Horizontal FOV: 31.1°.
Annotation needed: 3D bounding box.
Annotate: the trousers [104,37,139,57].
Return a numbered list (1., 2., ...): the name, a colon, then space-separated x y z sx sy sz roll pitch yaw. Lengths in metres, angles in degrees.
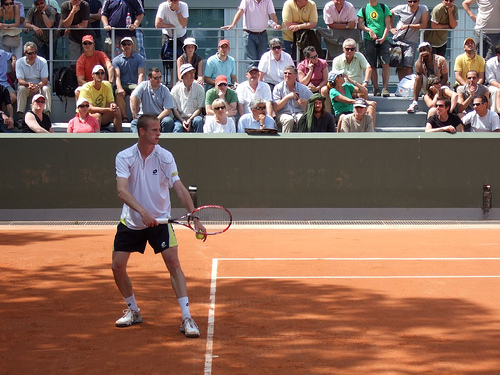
1. trousers: -3.056 -3.341 21.191 0.662 0.393 0.466 -10 17 -23

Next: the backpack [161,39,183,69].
1. backpack: -1.799 -3.247 21.034 0.330 0.678 0.491 3 19 33

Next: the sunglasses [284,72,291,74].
1. sunglasses: 0.791 -2.467 19.409 0.051 0.037 0.179 -12 19 -41

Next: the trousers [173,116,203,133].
1. trousers: -1.257 -1.332 19.494 0.396 0.432 0.163 2 -11 -4

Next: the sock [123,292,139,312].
1. sock: -1.749 1.670 13.186 0.196 0.237 0.205 -4 14 -15

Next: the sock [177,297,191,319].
1. sock: -0.969 1.751 13.052 0.142 0.452 0.167 -13 -26 11

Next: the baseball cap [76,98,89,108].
1. baseball cap: -3.502 -1.784 19.068 0.204 0.172 0.342 -1 -3 -26

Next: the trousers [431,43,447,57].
1. trousers: 4.450 -3.225 21.119 0.198 0.298 0.608 12 19 42

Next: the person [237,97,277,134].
1. person: 0.126 -1.527 19.024 0.765 0.763 0.447 0 13 -1

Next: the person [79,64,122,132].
1. person: -3.252 -1.908 19.550 0.866 1.444 0.572 -3 13 -12

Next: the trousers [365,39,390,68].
1. trousers: 2.936 -3.088 20.736 0.618 1.026 0.342 0 -1 0

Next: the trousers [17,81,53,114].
1. trousers: -4.886 -1.976 20.335 0.787 0.702 0.895 -3 14 -14

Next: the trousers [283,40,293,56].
1. trousers: 0.877 -3.236 20.973 0.244 0.450 0.289 -2 10 1

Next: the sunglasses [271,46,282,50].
1. sunglasses: 0.589 -3.106 20.063 0.221 0.083 0.108 -5 15 -19

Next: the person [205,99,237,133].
1. person: -0.639 -1.565 19.162 0.668 1.004 0.639 0 -1 -7

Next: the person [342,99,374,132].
1. person: 2.289 -1.470 19.272 0.711 1.102 0.593 -1 8 -2

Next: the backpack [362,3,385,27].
1. backpack: 2.910 -4.142 21.206 0.489 0.572 0.453 -23 12 8

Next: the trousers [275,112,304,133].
1. trousers: 0.773 -1.401 19.419 0.442 0.512 0.187 1 -9 -17

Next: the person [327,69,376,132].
1. person: 2.327 -1.755 19.531 1.080 1.664 1.149 -8 12 5

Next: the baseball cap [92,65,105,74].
1. baseball cap: -3.291 -2.530 19.353 0.191 0.159 0.332 2 -1 -13

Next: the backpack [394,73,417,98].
1. backpack: 3.604 -2.351 20.769 0.351 0.516 0.490 22 11 36

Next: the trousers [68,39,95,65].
1. trousers: -3.938 -3.235 21.185 0.571 0.872 0.454 2 12 4

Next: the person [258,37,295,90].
1. person: 0.533 -2.795 20.476 0.958 1.305 0.885 0 5 -1

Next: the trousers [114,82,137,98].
1. trousers: -2.800 -2.161 20.165 0.505 0.331 0.521 -2 14 -8

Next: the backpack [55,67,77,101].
1. backpack: -4.217 -2.352 20.559 0.515 0.762 0.345 -1 13 -5

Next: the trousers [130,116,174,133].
1. trousers: -2.061 -1.337 19.217 0.676 0.298 0.549 2 -2 -20

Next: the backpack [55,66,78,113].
1. backpack: -4.216 -2.385 20.463 0.421 0.684 0.231 4 3 20

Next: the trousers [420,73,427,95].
1. trousers: 3.974 -2.333 20.566 0.167 0.381 0.262 5 4 7

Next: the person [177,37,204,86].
1. person: -1.368 -2.848 20.391 0.630 0.998 0.859 0 13 1

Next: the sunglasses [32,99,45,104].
1. sunglasses: -4.470 -1.822 19.029 0.200 0.112 0.120 -6 15 -23

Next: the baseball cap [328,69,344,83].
1. baseball cap: 1.855 -2.407 19.498 0.300 0.106 0.206 -26 22 23

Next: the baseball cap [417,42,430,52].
1. baseball cap: 3.906 -3.159 20.221 0.257 0.202 0.431 3 15 11

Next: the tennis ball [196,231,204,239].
1. tennis ball: -0.720 0.672 12.881 0.106 0.095 0.130 0 -8 0

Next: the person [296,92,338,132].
1. person: 1.402 -1.613 19.310 0.748 0.977 0.314 -1 2 -5

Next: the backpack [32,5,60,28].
1. backpack: -4.897 -4.107 21.530 0.559 0.849 0.431 0 -8 -10

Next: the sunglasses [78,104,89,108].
1. sunglasses: -3.512 -1.717 18.960 0.204 0.093 0.098 -3 14 -10

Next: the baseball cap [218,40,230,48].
1. baseball cap: -0.554 -3.248 20.222 0.183 0.155 0.318 4 -11 -15

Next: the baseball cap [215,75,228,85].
1. baseball cap: -0.632 -2.311 19.418 0.250 0.205 0.370 0 5 -4
